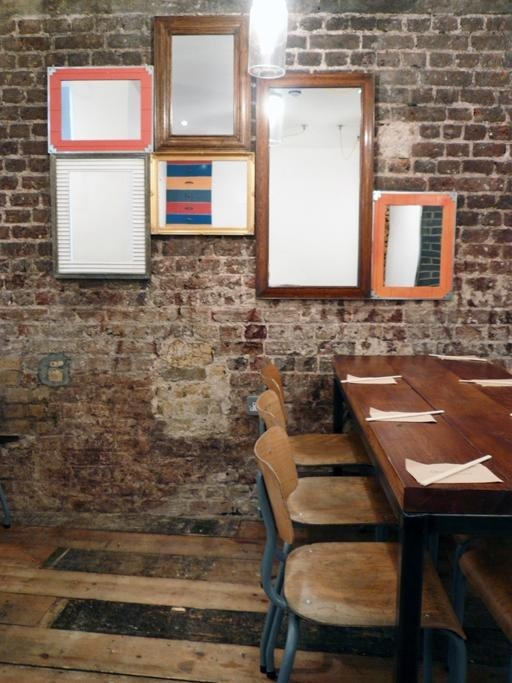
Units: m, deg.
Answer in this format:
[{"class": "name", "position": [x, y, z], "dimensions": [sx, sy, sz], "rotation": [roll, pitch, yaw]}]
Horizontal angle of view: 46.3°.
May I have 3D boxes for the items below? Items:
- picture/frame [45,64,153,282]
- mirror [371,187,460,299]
[{"class": "picture/frame", "position": [-0.796, -0.862, 3.070], "dimensions": [0.534, 1.050, 0.126], "rotation": [1, 12, 5]}, {"class": "mirror", "position": [0.804, -0.482, 3.010], "dimensions": [0.445, 0.529, 0.026], "rotation": [4, 10, 7]}]
